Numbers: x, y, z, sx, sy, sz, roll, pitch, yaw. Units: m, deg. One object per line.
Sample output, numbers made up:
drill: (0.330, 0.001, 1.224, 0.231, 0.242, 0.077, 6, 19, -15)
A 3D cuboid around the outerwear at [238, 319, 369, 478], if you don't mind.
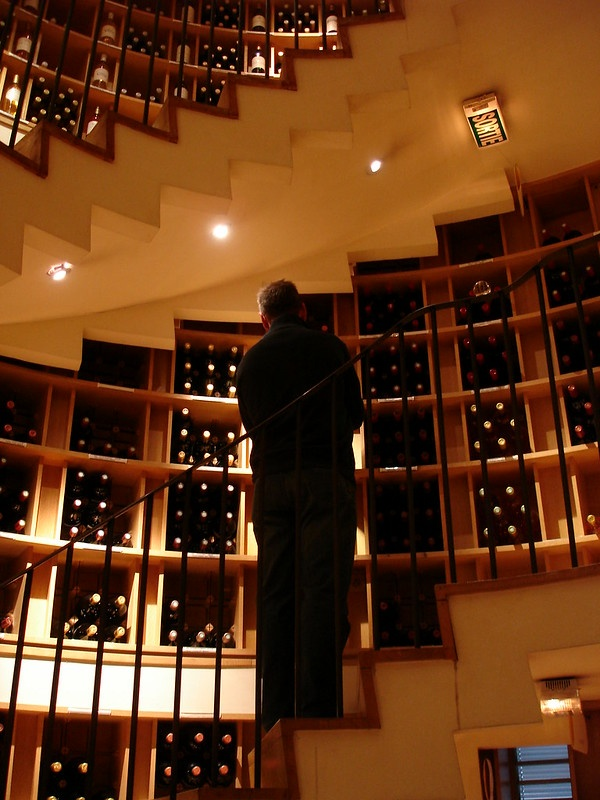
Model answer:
outerwear: (0.002, 0.041, 1.988, 0.382, 0.578, 0.327, -12, -23, 13)
